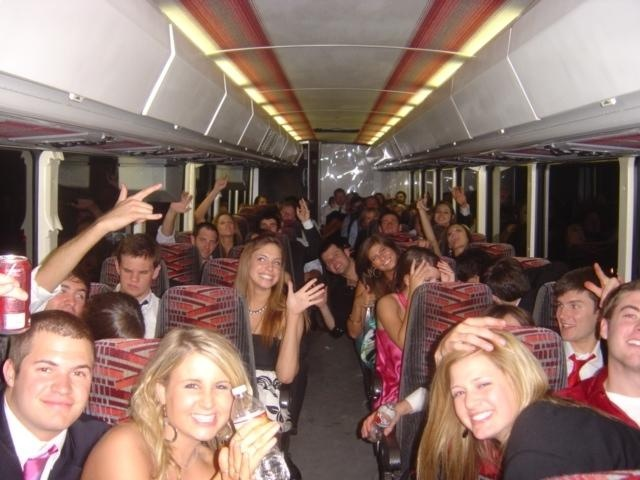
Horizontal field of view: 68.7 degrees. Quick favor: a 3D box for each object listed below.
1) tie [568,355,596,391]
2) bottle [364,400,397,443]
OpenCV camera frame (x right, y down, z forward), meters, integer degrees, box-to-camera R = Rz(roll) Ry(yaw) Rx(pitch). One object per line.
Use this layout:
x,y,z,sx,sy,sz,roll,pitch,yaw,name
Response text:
1.850,0.939,3.386,0.198,0.036,0.456,-18,8,42,tie
0.380,1.195,3.072,0.111,0.284,0.247,2,-1,-41,bottle
